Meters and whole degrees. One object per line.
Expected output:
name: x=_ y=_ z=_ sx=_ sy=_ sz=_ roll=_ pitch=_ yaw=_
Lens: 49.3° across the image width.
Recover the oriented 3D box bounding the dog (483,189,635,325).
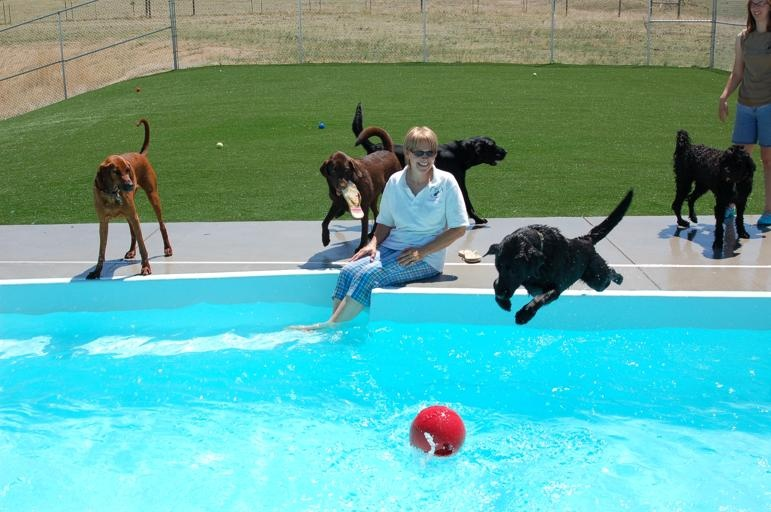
dog: x=1.804 y=0.043 z=7.626 sx=1.794 sy=1.010 sz=0.602 roll=-18 pitch=26 yaw=-34

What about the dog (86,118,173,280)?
dog: x=-3.203 y=-0.842 z=9.413 sx=0.966 sy=1.859 sz=1.857 roll=-8 pitch=17 yaw=-16

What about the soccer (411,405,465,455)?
soccer: x=0.554 y=1.861 z=7.292 sx=0.544 sy=0.565 sz=0.528 roll=-5 pitch=46 yaw=4

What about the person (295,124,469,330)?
person: x=0.162 y=-0.341 z=8.406 sx=1.481 sy=2.286 sz=0.531 roll=-7 pitch=16 yaw=-13

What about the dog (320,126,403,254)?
dog: x=-0.250 y=-0.872 z=9.663 sx=0.723 sy=1.443 sz=1.916 roll=7 pitch=22 yaw=25

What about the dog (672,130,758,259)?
dog: x=4.179 y=-0.904 z=9.565 sx=0.568 sy=1.481 sz=1.131 roll=-6 pitch=16 yaw=-9

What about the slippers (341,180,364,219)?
slippers: x=-0.338 y=-0.708 z=8.993 sx=0.220 sy=0.467 sz=0.117 roll=-30 pitch=25 yaw=-22
